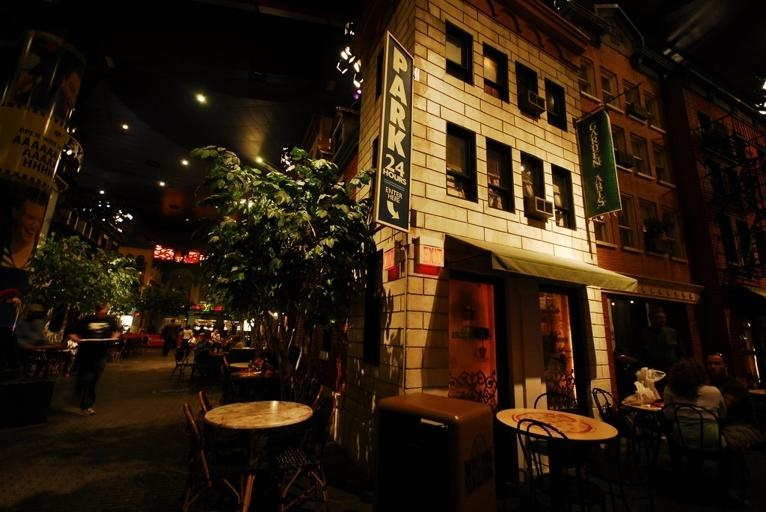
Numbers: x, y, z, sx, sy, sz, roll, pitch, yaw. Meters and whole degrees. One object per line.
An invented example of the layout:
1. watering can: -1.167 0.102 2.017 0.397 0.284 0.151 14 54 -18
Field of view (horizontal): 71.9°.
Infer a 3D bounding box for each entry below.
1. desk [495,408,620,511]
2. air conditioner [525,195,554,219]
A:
1. desk: 4.624 5.562 14.272 2.603 1.903 2.637 2 -3 -9
2. air conditioner: 4.896 -1.494 16.554 0.939 0.623 0.302 9 -17 -15
